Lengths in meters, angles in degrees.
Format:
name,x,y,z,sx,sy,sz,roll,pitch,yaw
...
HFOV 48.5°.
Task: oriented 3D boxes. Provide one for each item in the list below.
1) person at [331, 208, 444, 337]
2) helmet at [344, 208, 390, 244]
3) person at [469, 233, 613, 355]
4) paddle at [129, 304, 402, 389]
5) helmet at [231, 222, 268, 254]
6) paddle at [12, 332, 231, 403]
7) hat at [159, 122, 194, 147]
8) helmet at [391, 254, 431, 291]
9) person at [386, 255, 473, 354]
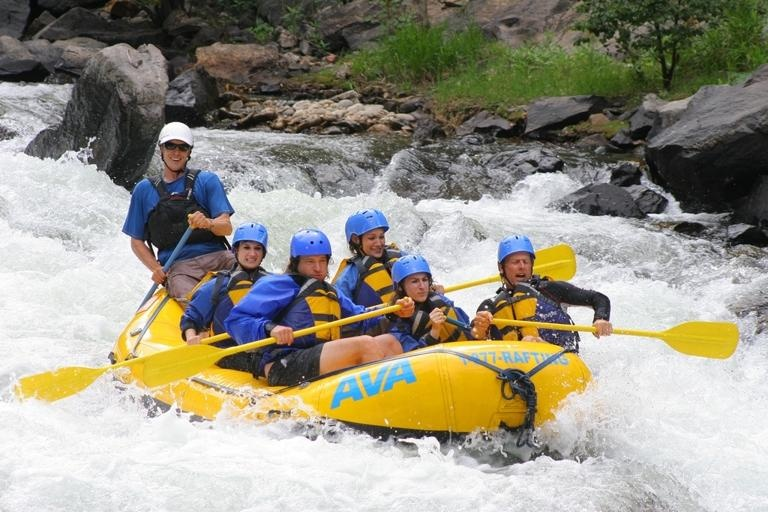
name,x,y,z,sx,sy,sz,roll,pitch,yaw
person,0.018,0.211,8.953,0.670,1.297,1.095,-24,2,41
helmet,-0.173,-0.290,8.933,0.320,0.389,0.307,5,1,-34
person,1.634,0.440,8.828,0.857,0.733,1.041,-22,52,-11
paddle,-1.029,0.876,7.978,3.491,0.420,0.160,-9,20,-10
helmet,-1.300,-0.177,8.357,0.259,0.250,0.329,5,15,-8
paddle,-2.437,1.078,8.070,2.637,0.324,0.118,-12,7,-8
hat,-2.141,-1.267,8.743,0.319,0.222,0.327,-8,40,-13
helmet,0.267,0.145,8.169,0.282,0.354,0.276,1,6,-5
person,0.399,0.476,8.520,0.979,0.531,1.172,-5,38,-10
